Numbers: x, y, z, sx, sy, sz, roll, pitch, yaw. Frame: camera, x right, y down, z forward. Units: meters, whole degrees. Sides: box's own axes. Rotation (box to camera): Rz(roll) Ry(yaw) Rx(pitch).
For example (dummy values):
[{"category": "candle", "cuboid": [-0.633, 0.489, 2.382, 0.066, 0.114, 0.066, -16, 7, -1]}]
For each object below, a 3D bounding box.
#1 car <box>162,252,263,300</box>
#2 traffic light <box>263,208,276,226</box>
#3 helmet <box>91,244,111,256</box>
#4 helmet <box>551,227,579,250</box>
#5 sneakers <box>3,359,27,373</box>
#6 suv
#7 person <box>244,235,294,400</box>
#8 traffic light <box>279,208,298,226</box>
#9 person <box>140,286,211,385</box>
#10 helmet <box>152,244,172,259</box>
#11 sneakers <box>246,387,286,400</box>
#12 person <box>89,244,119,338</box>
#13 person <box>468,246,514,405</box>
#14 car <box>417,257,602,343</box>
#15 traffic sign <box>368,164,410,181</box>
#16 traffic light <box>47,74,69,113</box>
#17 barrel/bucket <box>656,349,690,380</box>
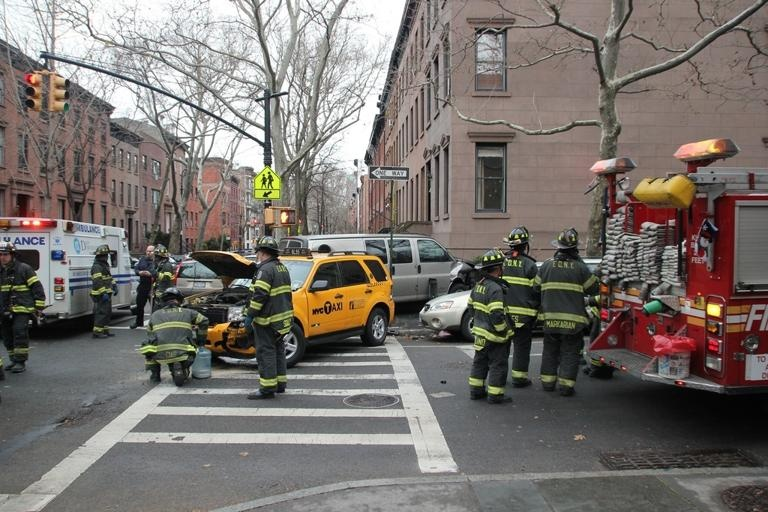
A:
[{"category": "car", "cuboid": [-3.706, 0.468, 19.354, 1.543, 1.060, 2.341, 1, 8, 25]}, {"category": "traffic light", "cuboid": [-3.234, -1.103, 22.999, 0.333, 0.579, 0.611, 0, 2, 6]}, {"category": "helmet", "cuboid": [-7.054, -0.113, 20.319, 0.351, 0.269, 0.498, 3, 8, 14]}, {"category": "helmet", "cuboid": [3.470, -0.274, 14.937, 0.450, 0.241, 0.585, 9, 16, 44]}, {"category": "sneakers", "cuboid": [-7.377, 2.237, 16.327, 0.448, 0.271, 0.161, 5, 8, -3]}, {"category": "suv", "cuboid": [-1.982, 1.099, 17.938, 2.382, 1.833, 4.129, -4, -5, 43]}, {"category": "person", "cuboid": [-2.144, 1.122, 14.965, 0.574, 2.932, 0.881, 1, 2, 43]}, {"category": "traffic light", "cuboid": [-2.836, -1.091, 23.345, 0.550, 0.506, 0.532, -1, -2, 15]}, {"category": "person", "cuboid": [-4.026, 1.561, 15.555, 1.228, 1.818, 0.661, -1, 1, -15]}, {"category": "helmet", "cuboid": [-5.761, -0.151, 20.834, 0.432, 0.355, 0.565, 3, -6, 3]}, {"category": "sneakers", "cuboid": [-2.153, 2.520, 14.854, 0.621, 0.236, 0.218, 5, -2, -16]}, {"category": "person", "cuboid": [-6.983, 0.888, 20.108, 0.518, 2.244, 0.820, -1, 1, -19]}, {"category": "person", "cuboid": [1.913, 1.255, 14.525, 0.737, 2.683, 0.489, 0, 1, 33]}, {"category": "car", "cuboid": [2.965, 0.949, 20.015, 4.249, 1.500, 1.874, 0, 0, -16]}, {"category": "traffic sign", "cuboid": [0.070, -2.336, 22.838, 1.103, 0.399, 1.217, 0, 1, -12]}, {"category": "traffic light", "cuboid": [-8.024, -4.039, 19.974, 0.447, 0.968, 0.770, -1, 1, -20]}, {"category": "barrel/bucket", "cuboid": [4.628, 1.686, 13.110, 0.427, 0.527, 0.573, 0, 1, -34]}]
